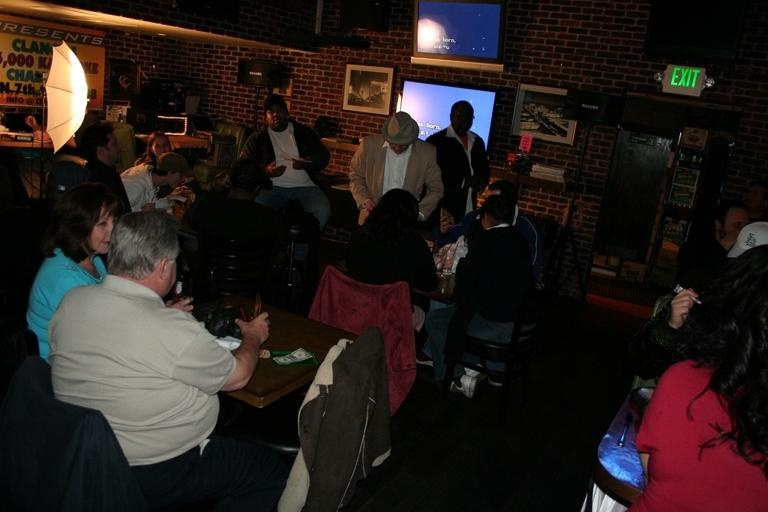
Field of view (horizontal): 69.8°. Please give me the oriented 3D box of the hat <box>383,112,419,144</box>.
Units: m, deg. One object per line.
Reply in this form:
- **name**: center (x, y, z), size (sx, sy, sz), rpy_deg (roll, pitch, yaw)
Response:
- **hat**: center (0.169, -1.272, 5.653), size (0.295, 0.353, 0.135), rpy_deg (8, 3, 4)

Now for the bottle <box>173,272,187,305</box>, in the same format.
- **bottle**: center (-1.353, 0.221, 3.630), size (0.047, 0.195, 0.096), rpy_deg (5, -2, 28)

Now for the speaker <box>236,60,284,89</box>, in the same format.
- **speaker**: center (-2.033, -3.038, 9.206), size (0.983, 0.487, 0.389), rpy_deg (16, 15, 38)

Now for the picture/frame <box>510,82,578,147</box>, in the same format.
- **picture/frame**: center (2.120, -1.854, 7.196), size (0.777, 0.660, 0.064), rpy_deg (16, 17, 21)
